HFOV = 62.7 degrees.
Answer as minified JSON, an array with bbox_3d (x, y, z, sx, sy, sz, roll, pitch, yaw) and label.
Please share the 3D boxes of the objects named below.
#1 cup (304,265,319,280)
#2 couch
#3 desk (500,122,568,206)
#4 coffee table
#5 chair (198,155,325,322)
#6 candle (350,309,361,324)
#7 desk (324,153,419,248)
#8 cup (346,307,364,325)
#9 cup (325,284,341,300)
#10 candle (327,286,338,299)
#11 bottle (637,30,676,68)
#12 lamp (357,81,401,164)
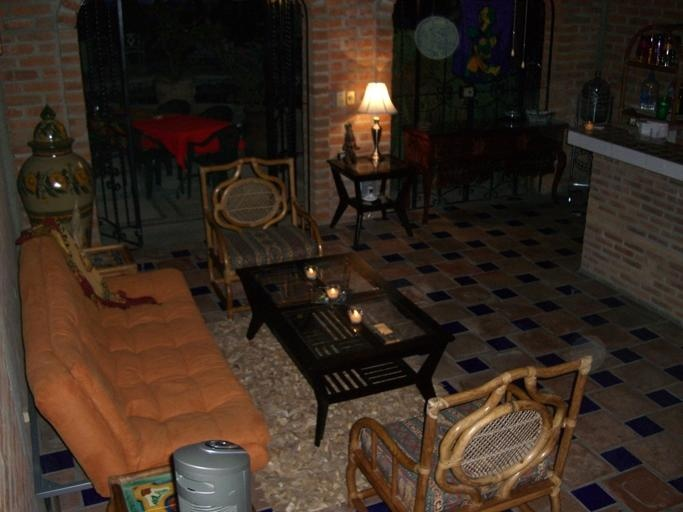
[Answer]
[{"bbox_3d":[-0.243,0.127,4.644,0.114,0.106,0.109,2,38,-1],"label":"cup"},{"bbox_3d":[-1.403,0.620,3.736,1.283,0.882,2.109,-2,20,-25],"label":"couch"},{"bbox_3d":[2.540,-1.214,7.335,0.726,0.837,0.893,1,28,5],"label":"desk"},{"bbox_3d":[-0.006,0.525,4.039,1.242,0.688,1.775,-11,34,-26],"label":"coffee table"},{"bbox_3d":[-0.759,-0.191,5.374,1.104,1.229,0.952,-18,33,-34],"label":"chair"},{"bbox_3d":[0.099,0.435,4.033,0.081,0.101,0.073,-9,23,-9],"label":"candle"},{"bbox_3d":[0.498,-0.672,7.034,1.260,1.125,1.077,-9,32,-19],"label":"desk"},{"bbox_3d":[0.097,0.428,4.068,0.106,0.083,0.114,-1,29,0],"label":"cup"},{"bbox_3d":[-0.076,0.271,4.293,0.105,0.078,0.102,1,37,-1],"label":"cup"},{"bbox_3d":[-0.077,0.281,4.285,0.084,0.059,0.078,13,49,9],"label":"candle"},{"bbox_3d":[2.977,-1.963,5.349,0.213,0.288,0.420,-8,22,-9],"label":"bottle"},{"bbox_3d":[0.412,-1.603,6.767,0.695,0.868,0.663,5,23,15],"label":"lamp"}]
